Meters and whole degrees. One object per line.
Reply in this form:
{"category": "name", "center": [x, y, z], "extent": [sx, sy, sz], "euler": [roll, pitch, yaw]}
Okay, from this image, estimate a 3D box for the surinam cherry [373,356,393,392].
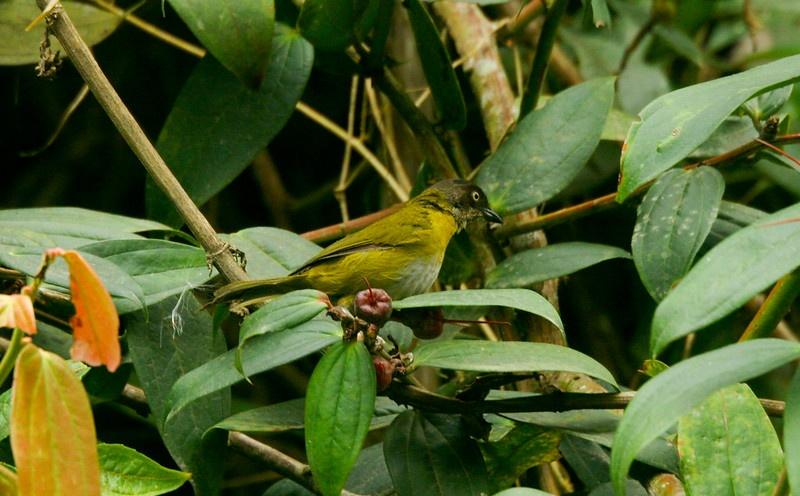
{"category": "surinam cherry", "center": [-0.056, 0.431, 3.082], "extent": [0.064, 0.101, 0.079], "euler": [1, -5, -14]}
